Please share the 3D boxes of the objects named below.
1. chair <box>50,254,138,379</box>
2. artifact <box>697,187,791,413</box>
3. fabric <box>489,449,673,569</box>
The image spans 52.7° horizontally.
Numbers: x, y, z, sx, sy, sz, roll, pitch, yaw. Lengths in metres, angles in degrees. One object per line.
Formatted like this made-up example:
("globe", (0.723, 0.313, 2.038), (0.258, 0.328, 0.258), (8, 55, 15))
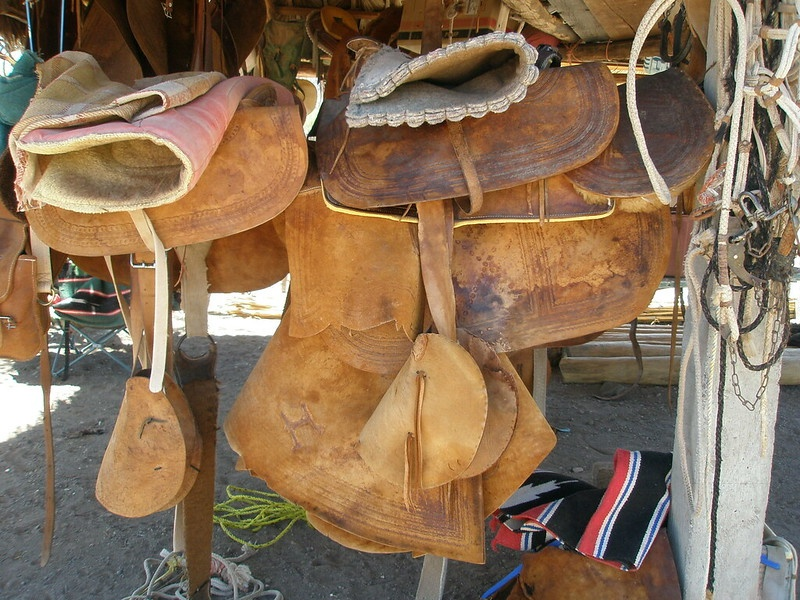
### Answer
("chair", (-1.602, 0.103, 4.259), (0.433, 0.597, 0.472), (-17, -18, 22))
("artifact", (0.850, -0.010, 1.936), (0.208, 0.539, 0.090), (8, 9, 24))
("fabric", (0.516, 0.584, 2.291), (0.374, 0.156, 0.361), (-12, 8, -38))
